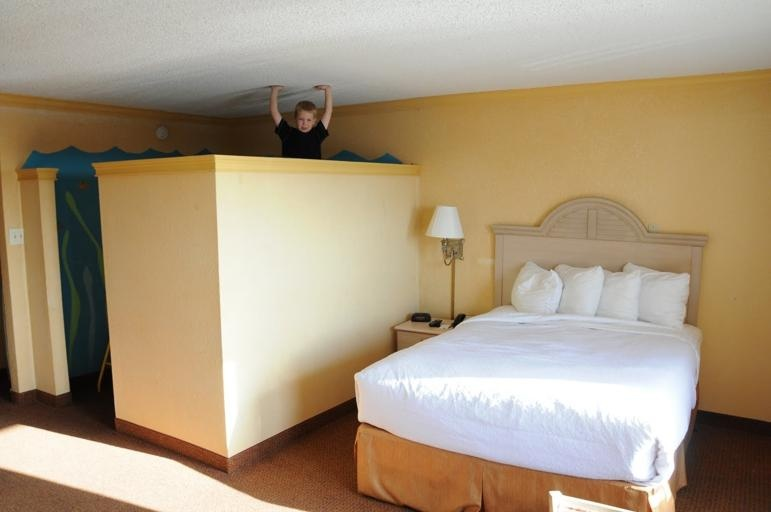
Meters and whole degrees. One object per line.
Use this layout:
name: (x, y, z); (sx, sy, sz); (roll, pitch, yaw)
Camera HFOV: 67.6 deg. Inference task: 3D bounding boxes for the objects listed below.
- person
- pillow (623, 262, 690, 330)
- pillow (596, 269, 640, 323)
person: (-0.954, -1.482, 6.469); (0.654, 0.793, 0.533); (-1, 8, -10)
pillow: (2.815, 0.442, 5.958); (0.606, 0.563, 0.262); (5, 14, 35)
pillow: (2.516, 0.425, 6.080); (0.494, 0.470, 0.147); (2, -12, 32)
